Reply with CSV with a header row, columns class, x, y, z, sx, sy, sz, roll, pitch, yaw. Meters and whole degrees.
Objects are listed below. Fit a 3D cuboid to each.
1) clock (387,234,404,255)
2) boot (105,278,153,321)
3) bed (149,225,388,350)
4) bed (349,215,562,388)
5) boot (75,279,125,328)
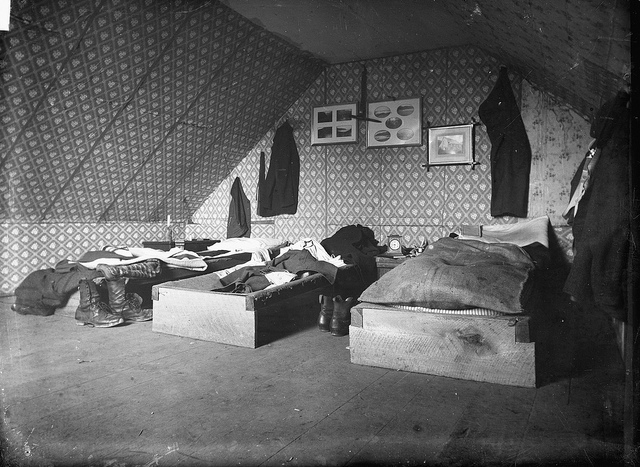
class,x,y,z,sx,sy,sz,roll,pitch,yaw
clock,0.809,0.128,5.124,0.191,0.246,0.178,-2,-9,13
boot,-1.647,0.577,4.246,0.503,0.485,0.258,-1,5,-27
bed,-0.286,0.434,4.334,0.934,0.395,1.713,1,4,28
bed,1.192,0.391,3.745,0.926,0.650,1.625,1,7,26
boot,-1.866,0.595,4.015,0.464,0.381,0.186,3,6,19
